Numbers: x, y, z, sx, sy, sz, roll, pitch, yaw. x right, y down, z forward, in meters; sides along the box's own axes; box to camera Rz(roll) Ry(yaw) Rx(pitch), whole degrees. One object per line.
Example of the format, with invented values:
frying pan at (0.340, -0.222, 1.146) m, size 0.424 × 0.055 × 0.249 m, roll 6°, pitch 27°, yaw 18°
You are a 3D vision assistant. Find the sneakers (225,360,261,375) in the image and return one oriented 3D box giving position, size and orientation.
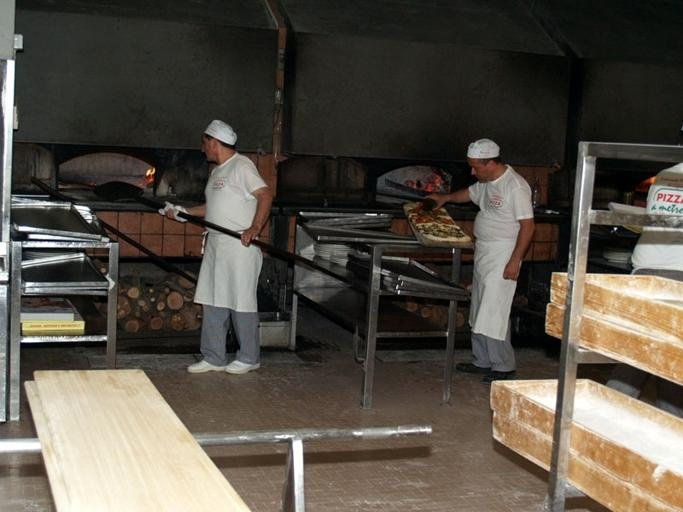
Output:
sneakers at (-0.754, 0.838, 4.754) m, size 0.256 × 0.096 × 0.090 m, roll 3°, pitch 2°, yaw -29°

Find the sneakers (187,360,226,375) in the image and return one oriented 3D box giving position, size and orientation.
sneakers at (-1.012, 0.827, 4.708) m, size 0.269 × 0.088 × 0.092 m, roll 5°, pitch -1°, yaw -18°

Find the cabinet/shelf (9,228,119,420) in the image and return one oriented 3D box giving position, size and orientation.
cabinet/shelf at (-1.763, 0.344, 4.028) m, size 0.605 × 1.031 × 1.239 m, roll 1°, pitch 9°, yaw -19°

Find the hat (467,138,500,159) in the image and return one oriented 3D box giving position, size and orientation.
hat at (1.066, -0.790, 4.702) m, size 0.216 × 0.158 × 0.169 m, roll 3°, pitch 9°, yaw -11°

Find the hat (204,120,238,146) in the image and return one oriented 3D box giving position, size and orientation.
hat at (-0.901, -0.854, 4.613) m, size 0.219 × 0.106 × 0.211 m, roll 26°, pitch 14°, yaw 2°

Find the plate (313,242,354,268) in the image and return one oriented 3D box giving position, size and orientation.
plate at (-0.074, -0.013, 5.052) m, size 0.238 × 0.077 × 0.200 m, roll 7°, pitch 5°, yaw -14°

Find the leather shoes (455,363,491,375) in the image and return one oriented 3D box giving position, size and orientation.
leather shoes at (1.052, 0.905, 5.042) m, size 0.259 × 0.093 × 0.092 m, roll 0°, pitch 2°, yaw 13°

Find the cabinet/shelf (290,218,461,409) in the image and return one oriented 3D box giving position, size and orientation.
cabinet/shelf at (0.159, 0.347, 5.107) m, size 0.802 × 1.000 × 2.133 m, roll 2°, pitch 5°, yaw -19°

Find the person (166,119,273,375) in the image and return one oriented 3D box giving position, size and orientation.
person at (-0.889, -0.061, 4.648) m, size 0.663 × 1.836 × 0.460 m, roll 9°, pitch 10°, yaw 26°
